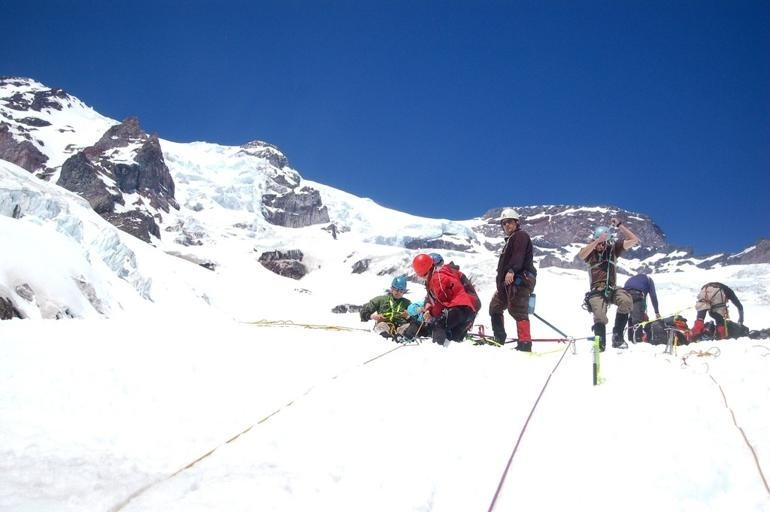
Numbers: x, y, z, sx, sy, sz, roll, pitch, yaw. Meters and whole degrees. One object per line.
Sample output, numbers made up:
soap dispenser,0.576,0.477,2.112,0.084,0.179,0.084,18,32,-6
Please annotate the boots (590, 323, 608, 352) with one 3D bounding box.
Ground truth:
boots,4.439,1.664,13.262,0.248,0.588,0.824,0,-10,17

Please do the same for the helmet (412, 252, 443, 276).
helmet,0.880,0.138,13.774,0.488,0.594,0.452,24,25,34

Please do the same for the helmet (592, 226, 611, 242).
helmet,4.649,-0.483,13.765,0.360,0.270,0.294,-15,-9,12

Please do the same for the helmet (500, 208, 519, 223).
helmet,2.708,-0.894,13.901,0.386,0.254,0.492,-6,14,5

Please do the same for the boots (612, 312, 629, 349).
boots,4.947,1.552,13.467,0.310,0.757,0.785,0,-10,19

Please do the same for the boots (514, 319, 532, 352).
boots,2.815,1.586,12.920,0.298,0.663,0.586,1,-10,11

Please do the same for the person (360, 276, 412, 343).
person,0.161,1.223,15.075,1.325,1.455,1.163,11,1,-4

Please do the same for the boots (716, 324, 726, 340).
boots,8.537,1.878,16.221,0.224,0.404,0.616,-2,-10,27

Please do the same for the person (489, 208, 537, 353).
person,2.700,0.433,13.549,0.939,3.132,1.426,1,-10,12

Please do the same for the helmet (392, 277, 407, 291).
helmet,0.377,0.641,15.059,0.320,0.347,0.389,17,-1,-18

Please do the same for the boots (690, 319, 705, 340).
boots,7.889,1.847,16.123,0.305,0.569,1.099,-2,-10,26

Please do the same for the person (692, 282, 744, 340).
person,8.772,1.508,16.820,1.099,1.793,1.041,7,-15,35
